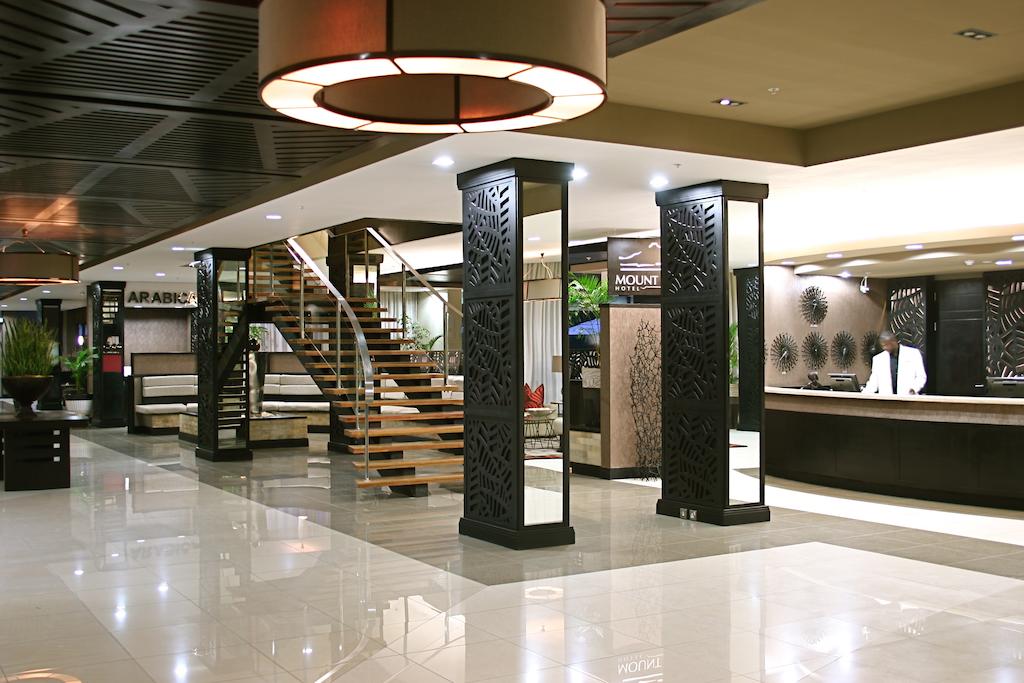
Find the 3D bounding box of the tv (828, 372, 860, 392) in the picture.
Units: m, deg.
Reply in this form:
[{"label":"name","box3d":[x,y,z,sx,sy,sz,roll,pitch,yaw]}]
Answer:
[{"label":"tv","box3d":[5.489,0.671,11.725,0.330,0.262,0.493,-1,-2,6]}]

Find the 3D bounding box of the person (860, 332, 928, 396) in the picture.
[{"label":"person","box3d":[6.202,0.357,11.615,0.740,1.006,1.283,-3,-2,42]}]
